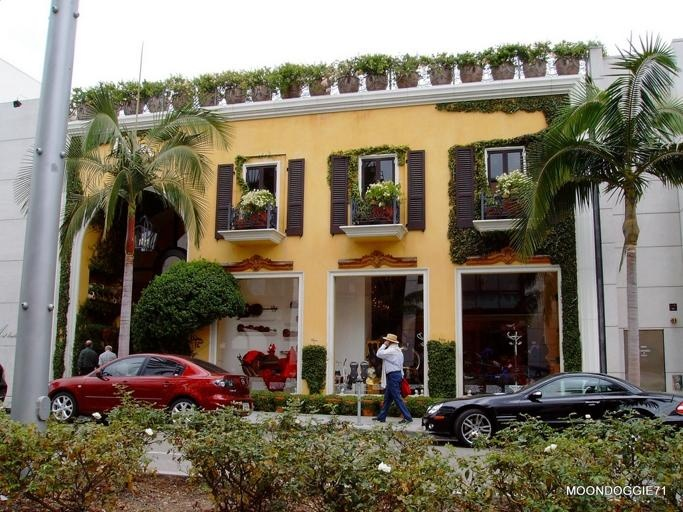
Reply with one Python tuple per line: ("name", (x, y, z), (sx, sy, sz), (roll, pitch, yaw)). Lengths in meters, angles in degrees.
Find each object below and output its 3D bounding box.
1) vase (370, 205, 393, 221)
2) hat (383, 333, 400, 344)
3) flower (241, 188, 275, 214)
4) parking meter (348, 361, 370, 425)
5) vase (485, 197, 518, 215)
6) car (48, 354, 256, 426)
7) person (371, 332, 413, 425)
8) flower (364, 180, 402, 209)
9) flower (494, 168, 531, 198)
("vase", (1.235, -1.265, 20.692), (0.457, 0.382, 0.466), (2, -1, -30))
("hat", (1.261, 2.116, 17.357), (0.449, 0.194, 0.438), (19, 0, 8))
("flower", (-2.759, -1.749, 21.895), (0.743, 0.606, 0.783), (-4, 5, -27))
("parking meter", (0.521, 4.146, 20.772), (0.549, 1.942, 0.268), (-2, -22, 7))
("vase", (4.647, -1.437, 20.014), (1.005, 0.683, 0.234), (-3, -8, 31))
("car", (-4.599, 3.169, 16.413), (4.633, 1.618, 1.323), (-1, -7, 15))
("person", (1.263, 3.005, 16.790), (0.774, 2.155, 1.258), (1, -7, -3))
("flower", (1.183, -1.869, 20.807), (0.805, 0.643, 0.799), (-2, 6, -28))
("flower", (4.639, -2.015, 19.538), (0.945, 0.777, 1.025), (-7, 3, -9))
